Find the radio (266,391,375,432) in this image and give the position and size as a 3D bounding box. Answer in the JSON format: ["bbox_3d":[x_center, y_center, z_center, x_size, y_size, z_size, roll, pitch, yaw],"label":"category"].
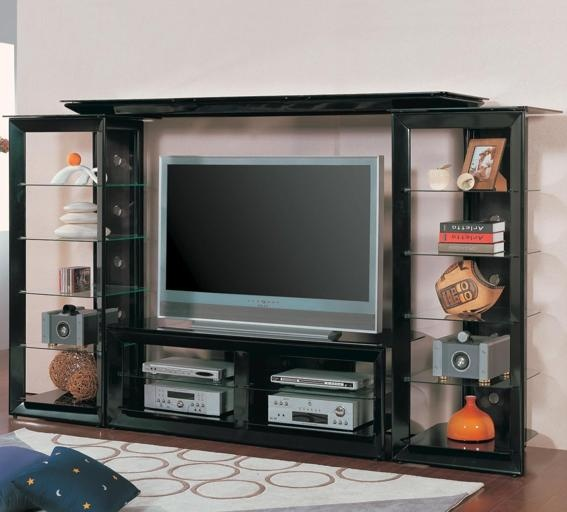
[{"bbox_3d":[0.188,0.798,3.434,0.519,0.180,0.150,1,0,16],"label":"radio"}]

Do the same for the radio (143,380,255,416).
[{"bbox_3d":[-0.544,0.794,3.678,0.422,0.101,0.260,1,2,24],"label":"radio"}]

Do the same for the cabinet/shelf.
[{"bbox_3d":[-0.207,0.045,3.734,3.158,1.829,0.684,1,0,21],"label":"cabinet/shelf"}]

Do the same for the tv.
[{"bbox_3d":[-0.018,-0.051,3.619,2.394,1.051,0.134,0,-1,16],"label":"tv"}]
